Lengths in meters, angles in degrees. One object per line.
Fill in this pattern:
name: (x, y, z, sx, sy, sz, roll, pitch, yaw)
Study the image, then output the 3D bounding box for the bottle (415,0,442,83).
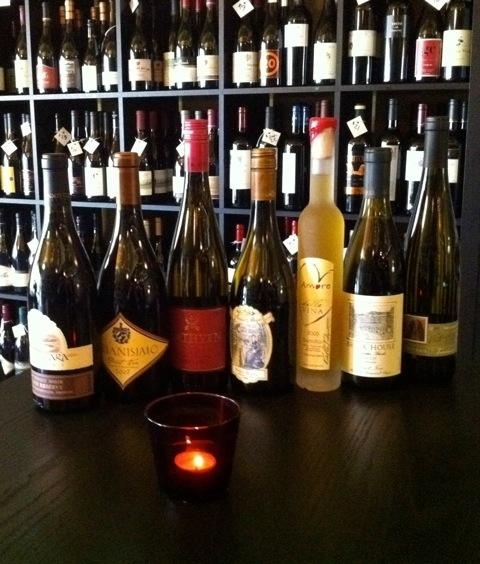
bottle: (0.594, -0.758, 1.630, 0.079, 0.292, 0.199, 2, 7, 19)

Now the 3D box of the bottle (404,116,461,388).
bottle: (0.230, -0.034, 0.623, 0.063, 0.291, 0.194, 2, 7, 24)

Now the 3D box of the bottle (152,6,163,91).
bottle: (-0.312, -0.889, 1.953, 0.041, 0.332, 0.100, -1, 6, -9)

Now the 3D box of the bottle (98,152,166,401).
bottle: (-0.111, -0.002, 0.542, 0.074, 0.253, 0.099, -2, 6, -17)

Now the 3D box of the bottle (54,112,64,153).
bottle: (-0.771, -0.634, 2.196, 0.043, 0.152, 0.150, -2, 7, -20)

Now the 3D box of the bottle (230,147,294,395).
bottle: (0.024, 0.016, 0.563, 0.071, 0.211, 0.057, 1, 6, 7)

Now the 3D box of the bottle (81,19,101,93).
bottle: (-0.596, -0.889, 2.058, 0.073, 0.317, 0.243, -2, 7, -17)

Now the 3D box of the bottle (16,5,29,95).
bottle: (-0.917, -0.968, 2.168, 0.051, 0.380, 0.345, -3, 7, -23)

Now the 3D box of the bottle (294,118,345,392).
bottle: (0.085, -0.020, 0.550, 0.051, 0.289, 0.079, 1, 6, 9)

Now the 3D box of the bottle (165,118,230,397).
bottle: (-0.049, -0.028, 0.583, 0.071, 0.291, 0.167, -1, 6, -4)

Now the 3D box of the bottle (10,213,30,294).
bottle: (-0.958, -0.134, 2.252, 0.078, 0.329, 0.248, -3, 7, -24)

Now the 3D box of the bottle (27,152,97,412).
bottle: (-0.177, 0.005, 0.517, 0.065, 0.252, 0.074, -3, 6, -23)

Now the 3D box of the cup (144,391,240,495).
cup: (-0.031, 0.119, 0.386, 0.060, 0.061, 0.073, -3, 9, 1)

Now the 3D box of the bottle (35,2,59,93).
bottle: (-0.771, -0.917, 2.064, 0.086, 0.344, 0.103, -3, 6, -24)

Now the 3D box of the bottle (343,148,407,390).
bottle: (0.141, -0.007, 0.552, 0.065, 0.256, 0.087, 2, 6, 19)

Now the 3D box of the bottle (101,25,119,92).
bottle: (-0.497, -0.855, 1.968, 0.055, 0.288, 0.196, -2, 7, -15)

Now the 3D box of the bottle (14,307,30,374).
bottle: (-0.896, 0.263, 2.143, 0.072, 0.343, 0.073, 8, 22, -3)
